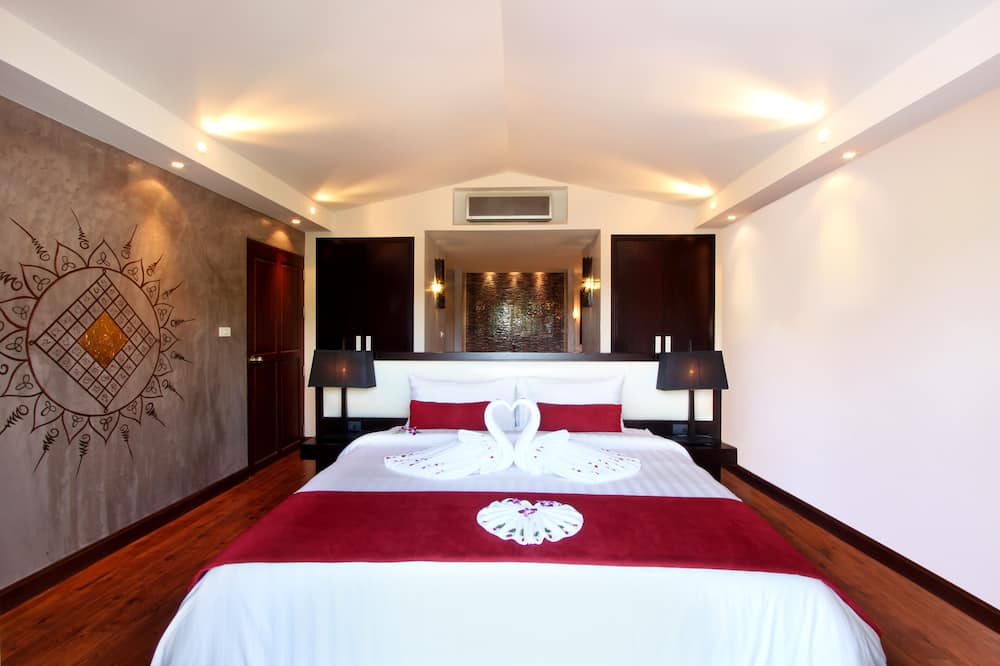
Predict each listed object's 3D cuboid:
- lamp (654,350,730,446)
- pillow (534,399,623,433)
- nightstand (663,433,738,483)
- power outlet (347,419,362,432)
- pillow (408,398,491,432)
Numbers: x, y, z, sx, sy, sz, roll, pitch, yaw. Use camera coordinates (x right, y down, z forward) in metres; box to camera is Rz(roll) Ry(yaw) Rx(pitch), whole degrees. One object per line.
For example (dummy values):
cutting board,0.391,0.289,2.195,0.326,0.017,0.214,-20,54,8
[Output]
lamp,1.590,0.506,5.215,0.625,0.737,0.576,-4,4,-10
pillow,0.620,0.653,4.841,0.620,0.201,0.161,-2,-12,-1
nightstand,1.627,1.078,4.932,0.612,0.370,0.329,0,-3,5
power outlet,-1.205,0.766,5.186,0.146,0.129,0.085,1,2,-1
pillow,-0.383,0.641,4.818,0.761,0.247,0.201,1,2,-2
